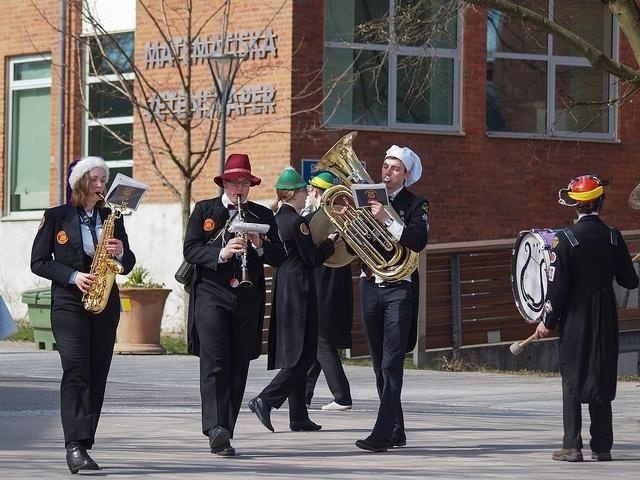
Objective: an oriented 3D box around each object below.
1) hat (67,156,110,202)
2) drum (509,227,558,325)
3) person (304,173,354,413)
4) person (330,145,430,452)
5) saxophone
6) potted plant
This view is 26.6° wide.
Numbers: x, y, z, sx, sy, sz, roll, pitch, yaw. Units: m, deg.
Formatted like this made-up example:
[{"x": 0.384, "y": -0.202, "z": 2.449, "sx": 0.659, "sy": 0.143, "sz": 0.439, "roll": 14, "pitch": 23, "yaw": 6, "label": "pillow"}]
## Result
[{"x": -2.339, "y": -0.652, "z": 14.118, "sx": 0.463, "sy": 0.418, "sz": 0.358, "roll": 4, "pitch": -4, "yaw": -2, "label": "hat"}, {"x": 2.929, "y": 0.531, "z": 19.533, "sx": 0.629, "sy": 1.468, "sz": 0.692, "roll": -3, "pitch": 4, "yaw": 0, "label": "drum"}, {"x": 0.243, "y": 0.795, "z": 16.698, "sx": 0.806, "sy": 2.543, "sz": 0.849, "roll": 5, "pitch": 6, "yaw": -4, "label": "person"}, {"x": 0.799, "y": 0.637, "z": 15.159, "sx": 1.169, "sy": 2.958, "sz": 1.127, "roll": 0, "pitch": -1, "yaw": 36, "label": "person"}, {"x": -2.194, "y": 0.207, "z": 13.934, "sx": 0.278, "sy": 1.149, "sz": 0.501, "roll": -2, "pitch": -1, "yaw": 28, "label": "saxophone"}, {"x": -3.018, "y": 1.430, "z": 22.380, "sx": 1.273, "sy": 1.062, "sz": 1.122, "roll": -2, "pitch": -10, "yaw": -5, "label": "potted plant"}]
